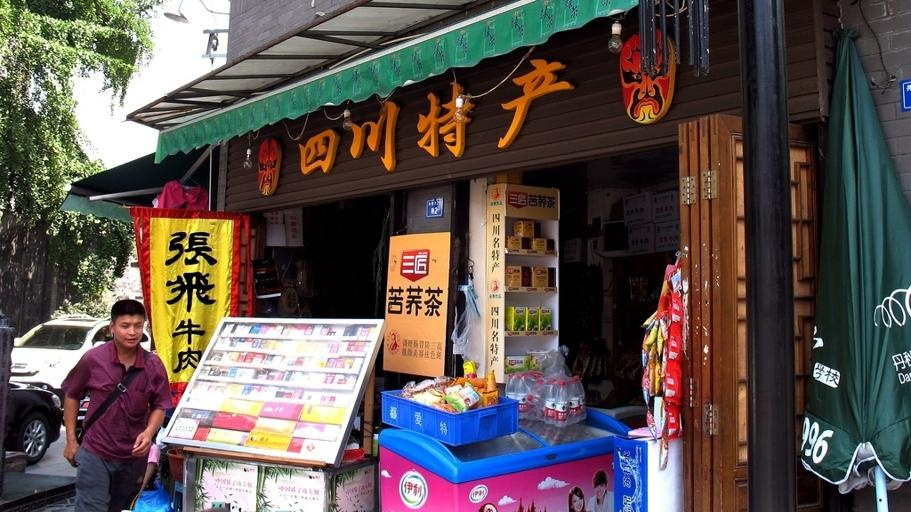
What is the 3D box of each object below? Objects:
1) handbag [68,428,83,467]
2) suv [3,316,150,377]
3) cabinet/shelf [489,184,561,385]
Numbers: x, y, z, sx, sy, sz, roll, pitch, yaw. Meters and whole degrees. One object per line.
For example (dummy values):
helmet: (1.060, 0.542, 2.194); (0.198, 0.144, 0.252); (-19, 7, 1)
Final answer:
handbag: (-4.360, 2.178, 8.282); (0.161, 0.473, 0.400); (8, -10, -27)
suv: (-8.003, 1.877, 15.708); (1.896, 1.552, 3.062); (-3, -10, 11)
cabinet/shelf: (0.900, 0.383, 9.685); (1.116, 2.609, 0.543); (8, -11, -29)
